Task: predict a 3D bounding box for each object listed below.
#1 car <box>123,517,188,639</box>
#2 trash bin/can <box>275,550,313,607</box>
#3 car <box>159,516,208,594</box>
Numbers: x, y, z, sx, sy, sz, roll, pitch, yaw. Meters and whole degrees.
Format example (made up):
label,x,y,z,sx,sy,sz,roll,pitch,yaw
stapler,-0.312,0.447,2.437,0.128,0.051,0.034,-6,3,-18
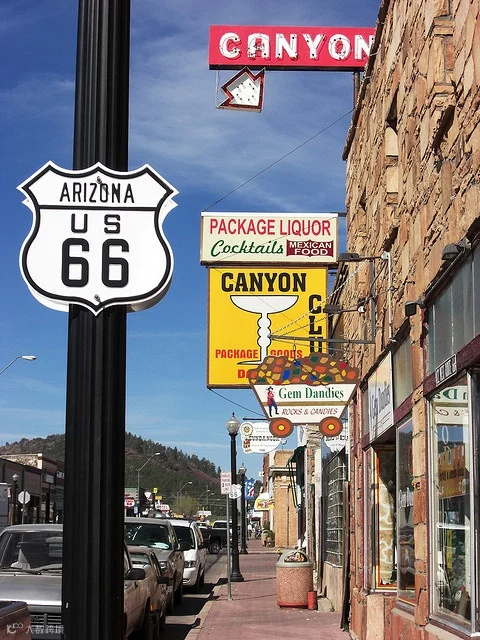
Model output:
label,x,y,z,sx,sy,sz,roll,pitch,yaw
car,-1.681,4.269,16.887,1.053,1.540,2.726,5,-13,-6
trash bin/can,0.938,4.471,16.553,0.653,1.018,0.744,2,-13,-7
car,-1.330,4.654,20.223,0.694,0.985,1.847,9,16,-25
